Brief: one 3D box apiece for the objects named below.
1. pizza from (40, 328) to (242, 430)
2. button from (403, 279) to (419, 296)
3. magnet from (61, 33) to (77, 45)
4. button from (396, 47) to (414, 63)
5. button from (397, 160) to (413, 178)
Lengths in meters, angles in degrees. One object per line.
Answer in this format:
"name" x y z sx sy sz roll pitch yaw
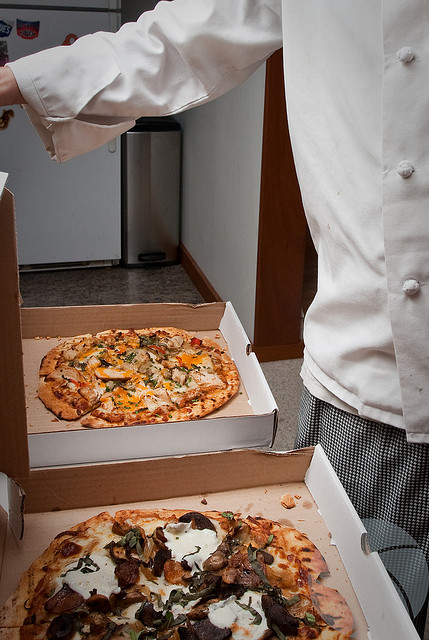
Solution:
"pizza" -0.172 0.136 1.175 0.291 0.032 0.247 -7 31 -22
"button" 0.218 -0.036 0.546 0.004 0.016 0.016 20 21 -47
"magnet" -0.848 -1.654 2.880 0.093 0.071 0.145 -5 23 -12
"button" 0.207 -0.289 0.535 0.018 0.015 0.016 7 24 18
"button" 0.210 -0.163 0.532 0.017 0.017 0.004 -6 -10 15
